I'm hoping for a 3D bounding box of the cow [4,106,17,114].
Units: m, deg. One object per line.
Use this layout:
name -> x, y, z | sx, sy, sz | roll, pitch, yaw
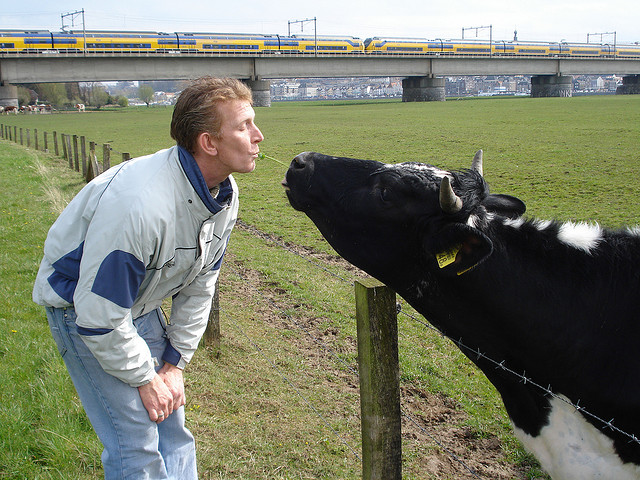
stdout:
cow -> -32.395, -13.844, 66.330 | 1.079, 0.931, 3.633 | -5, 17, -23
